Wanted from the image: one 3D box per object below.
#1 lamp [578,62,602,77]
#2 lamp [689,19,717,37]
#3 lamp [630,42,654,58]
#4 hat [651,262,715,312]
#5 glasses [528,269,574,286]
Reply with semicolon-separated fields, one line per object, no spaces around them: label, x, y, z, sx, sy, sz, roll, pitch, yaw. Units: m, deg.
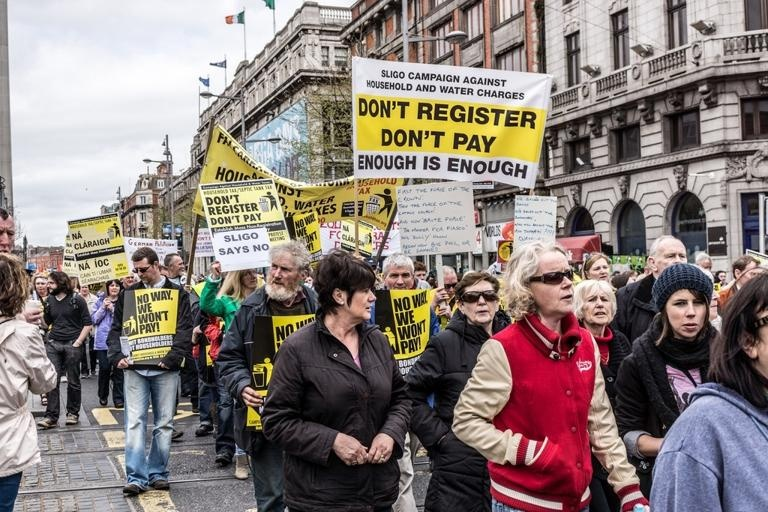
lamp;7.848;-7.010;34.262;0.596;0.365;0.498;-2;4;-43
lamp;10.070;-7.247;28.867;0.497;0.519;0.700;-3;2;-44
lamp;8.972;-7.194;31.743;0.556;0.579;0.729;-2;1;-12
hat;2.627;0.266;8.019;0.395;0.401;0.466;2;-3;3
glasses;1.383;0.165;7.486;0.393;0.118;0.108;-2;1;-18
